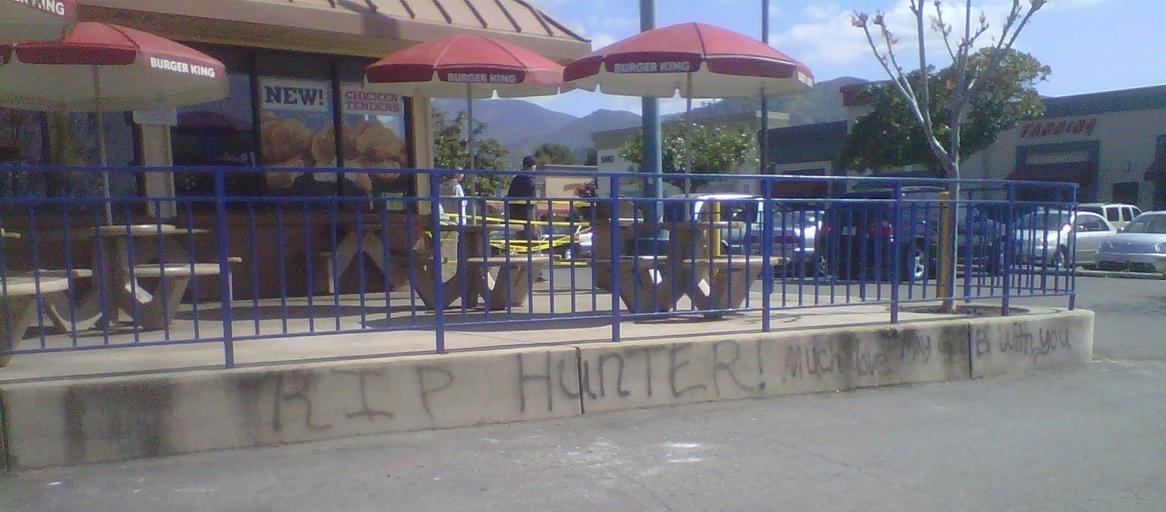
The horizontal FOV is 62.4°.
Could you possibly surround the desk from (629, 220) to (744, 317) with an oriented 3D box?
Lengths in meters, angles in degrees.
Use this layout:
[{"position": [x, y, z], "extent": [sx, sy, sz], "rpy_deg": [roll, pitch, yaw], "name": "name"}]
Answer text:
[{"position": [1.772, 0.189, 18.095], "extent": [2.008, 0.933, 1.850], "rpy_deg": [0, 2, -4], "name": "desk"}]
